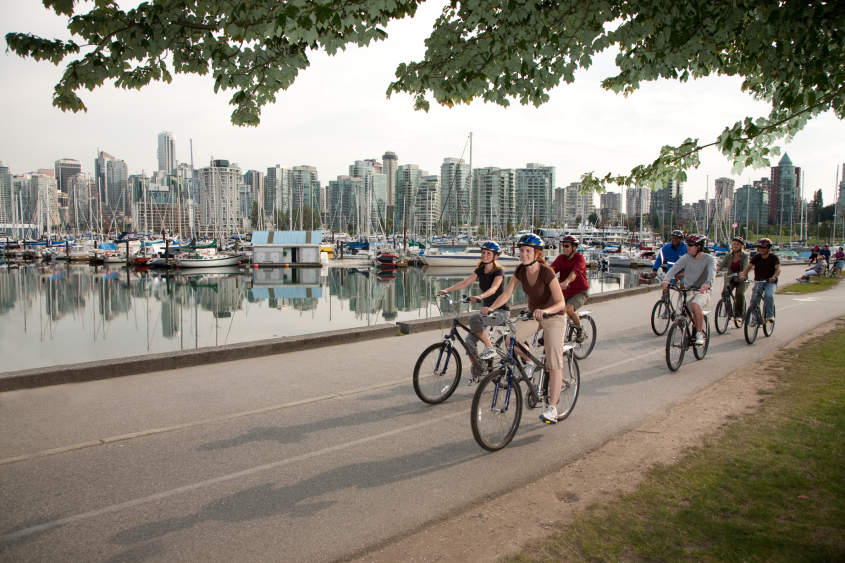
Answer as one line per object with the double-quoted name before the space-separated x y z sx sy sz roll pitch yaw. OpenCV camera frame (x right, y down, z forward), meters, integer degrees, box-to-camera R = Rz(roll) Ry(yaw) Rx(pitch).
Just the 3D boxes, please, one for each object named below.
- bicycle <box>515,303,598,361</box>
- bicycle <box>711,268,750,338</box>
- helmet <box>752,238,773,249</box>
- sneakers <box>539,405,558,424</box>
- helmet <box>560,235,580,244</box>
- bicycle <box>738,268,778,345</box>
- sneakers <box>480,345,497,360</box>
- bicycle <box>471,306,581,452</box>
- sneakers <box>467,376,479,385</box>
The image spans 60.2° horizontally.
"bicycle" 3.068 1.005 14.739 2.099 1.387 1.020 2 -3 -38
"bicycle" 7.434 0.554 17.640 0.757 0.943 1.438 -1 -2 39
"helmet" 7.458 -0.832 15.879 0.309 0.175 0.206 3 -3 -35
"sneakers" 1.939 2.007 10.902 0.148 0.231 0.452 -7 -17 37
"helmet" 2.831 -0.793 13.973 0.236 0.135 0.174 6 5 -3
"bicycle" 7.649 0.763 16.997 0.810 1.119 1.712 -2 -4 40
"sneakers" 1.029 1.138 11.464 0.269 0.127 0.161 0 6 -12
"bicycle" 1.463 1.488 10.638 0.563 1.679 2.203 12 19 42
"sneakers" 0.871 1.687 12.379 0.129 0.121 0.341 2 -10 -6
